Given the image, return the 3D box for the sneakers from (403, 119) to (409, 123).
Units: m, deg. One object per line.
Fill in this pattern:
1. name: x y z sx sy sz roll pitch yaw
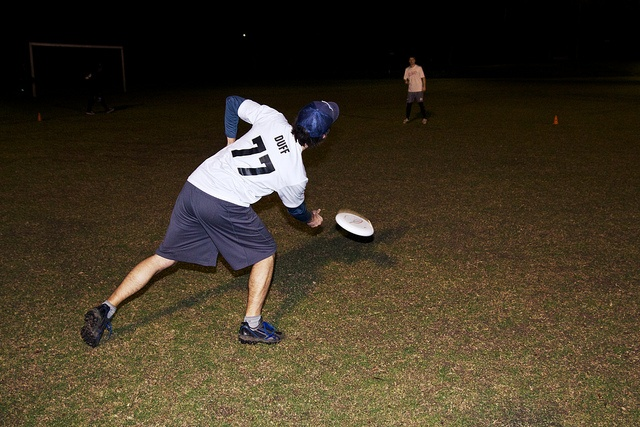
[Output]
1. sneakers: 2.897 -3.130 14.794 0.114 0.089 0.256 11 -7 -26

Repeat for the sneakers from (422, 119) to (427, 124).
1. sneakers: 3.530 -3.121 14.720 0.091 0.116 0.290 3 29 6

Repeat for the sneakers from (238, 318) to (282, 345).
1. sneakers: -0.630 1.232 4.627 0.476 0.248 0.206 2 7 -10

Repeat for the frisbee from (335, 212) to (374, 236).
1. frisbee: 0.418 0.115 5.242 0.380 0.120 0.301 10 21 -30

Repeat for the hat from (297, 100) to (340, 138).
1. hat: 0.001 -0.916 4.248 0.301 0.166 0.426 32 72 14
